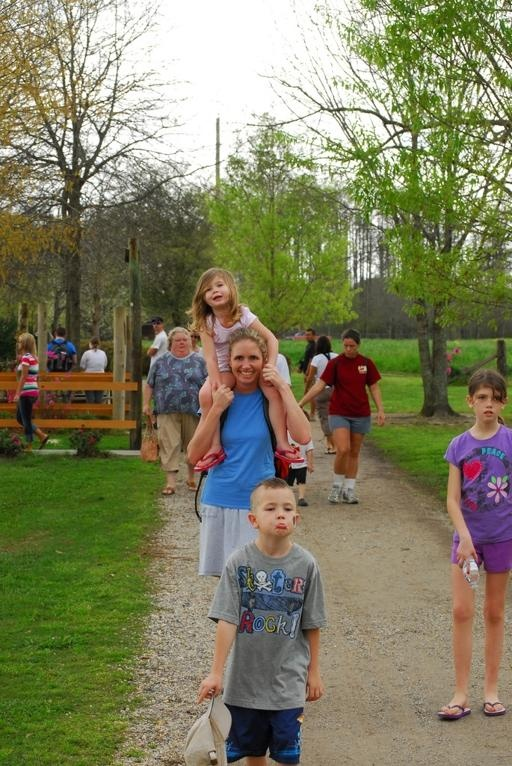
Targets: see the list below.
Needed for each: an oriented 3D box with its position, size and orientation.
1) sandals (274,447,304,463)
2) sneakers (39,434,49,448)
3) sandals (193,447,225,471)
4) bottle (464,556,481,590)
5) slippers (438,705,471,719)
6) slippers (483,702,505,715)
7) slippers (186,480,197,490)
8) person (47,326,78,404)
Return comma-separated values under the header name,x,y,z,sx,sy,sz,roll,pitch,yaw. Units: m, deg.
name,x,y,z,sx,sy,sz,roll,pitch,yaw
sandals,0.137,0.308,3.726,0.061,0.034,0.103,0,-1,-26
sneakers,-3.176,0.876,13.102,0.092,0.231,0.084,36,28,32
sandals,-0.209,0.333,3.697,0.170,0.059,0.062,-31,8,-30
bottle,0.959,0.864,3.984,0.070,0.146,0.173,1,-2,13
slippers,0.877,1.491,3.980,0.152,0.041,0.058,11,-15,-41
slippers,1.073,1.486,4.027,0.106,0.061,0.092,0,-2,18
slippers,-0.733,1.156,9.880,0.087,0.084,0.244,0,-4,-3
person,-3.847,-0.325,17.369,0.661,1.622,0.522,7,25,-1
